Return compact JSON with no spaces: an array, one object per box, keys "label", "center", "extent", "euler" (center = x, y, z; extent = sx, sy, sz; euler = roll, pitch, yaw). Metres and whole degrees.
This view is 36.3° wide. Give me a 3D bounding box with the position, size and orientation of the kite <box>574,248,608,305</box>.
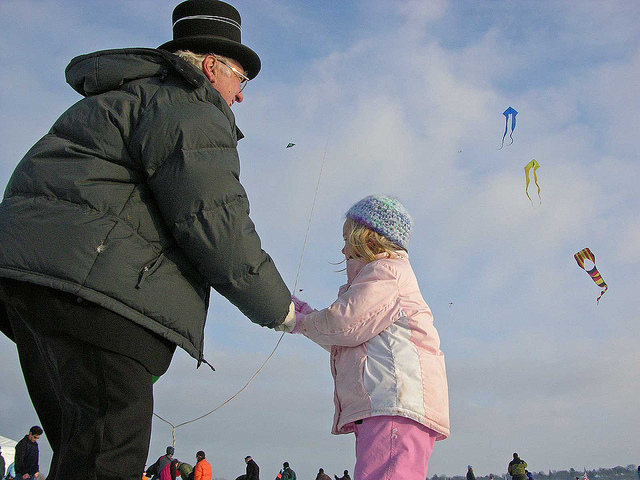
[{"label":"kite","center":[3.757,0.488,13.202],"extent":[0.272,0.042,0.939],"euler":[-24,-67,38]}]
